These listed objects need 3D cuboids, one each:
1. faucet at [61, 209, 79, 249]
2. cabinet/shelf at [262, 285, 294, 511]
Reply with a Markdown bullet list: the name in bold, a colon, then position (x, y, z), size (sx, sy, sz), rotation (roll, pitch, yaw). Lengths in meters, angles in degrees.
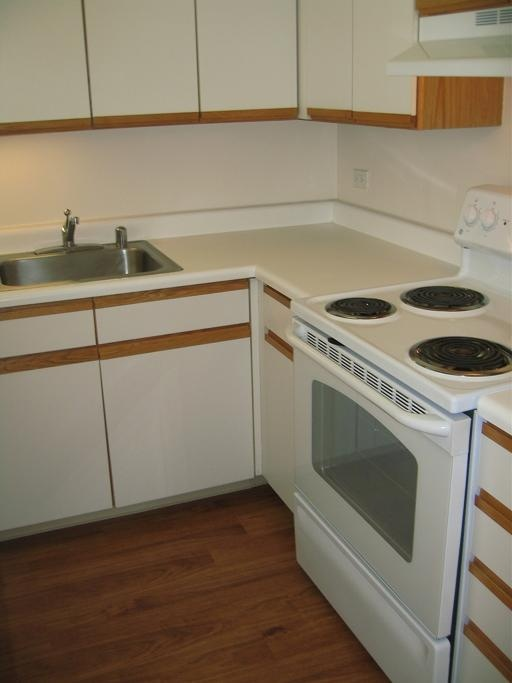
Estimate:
- **faucet**: position (-0.721, -0.439, 2.110), size (0.075, 0.145, 0.201), rotation (-10, 19, -16)
- **cabinet/shelf**: position (0.065, 0.200, 1.894), size (0.080, 0.772, 0.311), rotation (-8, 18, -10)
